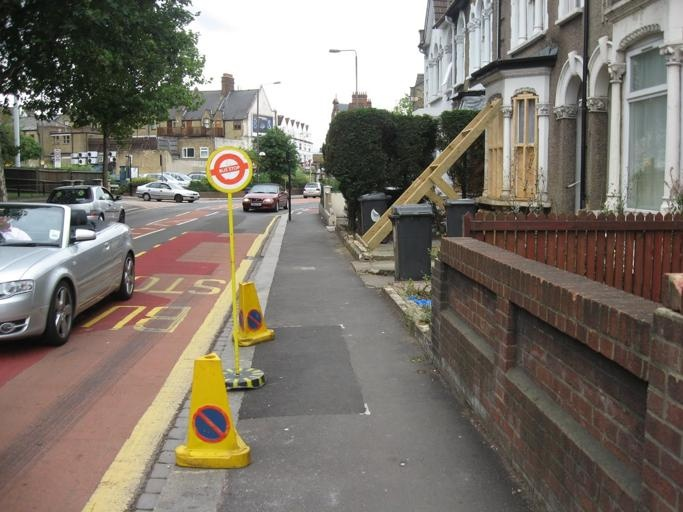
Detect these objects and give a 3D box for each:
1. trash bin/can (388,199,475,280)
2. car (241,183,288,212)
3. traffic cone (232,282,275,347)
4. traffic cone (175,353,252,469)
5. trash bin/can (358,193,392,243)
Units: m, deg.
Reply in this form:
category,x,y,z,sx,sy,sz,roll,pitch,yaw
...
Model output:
category,x,y,z,sx,sy,sz,roll,pitch,yaw
trash bin/can,1.742,-0.414,14.677,1.313,2.083,1.408,-1,8,-7
car,-4.621,-3.393,40.389,1.835,1.598,4.589,1,9,8
traffic cone,-1.218,0.786,9.622,0.508,0.890,0.462,-2,8,-13
traffic cone,-1.179,1.398,6.101,0.673,0.944,0.448,-1,8,-9
trash bin/can,0.964,-1.241,19.993,1.047,1.969,1.072,-2,13,5
